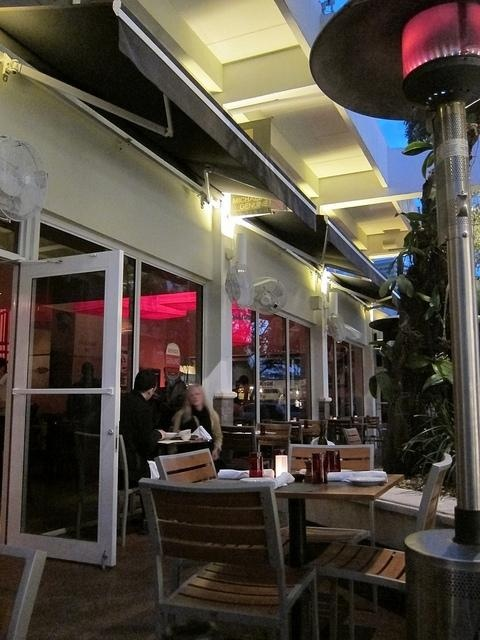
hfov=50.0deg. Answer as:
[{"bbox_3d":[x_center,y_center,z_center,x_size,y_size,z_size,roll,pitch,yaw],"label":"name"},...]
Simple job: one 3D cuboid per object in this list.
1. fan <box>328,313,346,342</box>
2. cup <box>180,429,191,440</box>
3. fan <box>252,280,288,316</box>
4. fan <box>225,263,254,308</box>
[{"bbox_3d":[2.071,0.136,11.096,0.143,0.546,0.385,-18,-2,-35],"label":"fan"},{"bbox_3d":[-0.518,1.088,4.900,0.073,0.080,0.088,-1,-13,9],"label":"cup"},{"bbox_3d":[0.378,-0.359,7.456,0.513,0.448,0.485,3,-12,-19],"label":"fan"},{"bbox_3d":[-0.009,-0.437,6.432,0.334,0.544,0.409,0,-11,0],"label":"fan"}]
